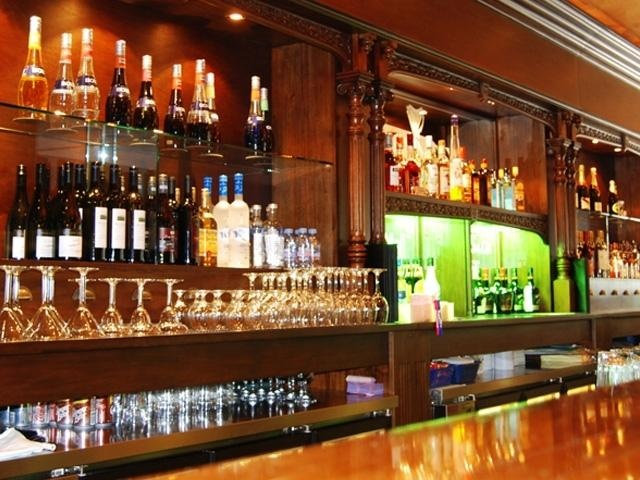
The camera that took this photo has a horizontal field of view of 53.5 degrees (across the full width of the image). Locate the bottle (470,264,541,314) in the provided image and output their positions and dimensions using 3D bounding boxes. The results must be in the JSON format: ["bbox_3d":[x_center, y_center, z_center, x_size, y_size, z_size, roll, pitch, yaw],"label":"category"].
[{"bbox_3d":[1.343,0.367,4.597,0.370,0.350,0.101,1,-8,-10],"label":"bottle"}]
